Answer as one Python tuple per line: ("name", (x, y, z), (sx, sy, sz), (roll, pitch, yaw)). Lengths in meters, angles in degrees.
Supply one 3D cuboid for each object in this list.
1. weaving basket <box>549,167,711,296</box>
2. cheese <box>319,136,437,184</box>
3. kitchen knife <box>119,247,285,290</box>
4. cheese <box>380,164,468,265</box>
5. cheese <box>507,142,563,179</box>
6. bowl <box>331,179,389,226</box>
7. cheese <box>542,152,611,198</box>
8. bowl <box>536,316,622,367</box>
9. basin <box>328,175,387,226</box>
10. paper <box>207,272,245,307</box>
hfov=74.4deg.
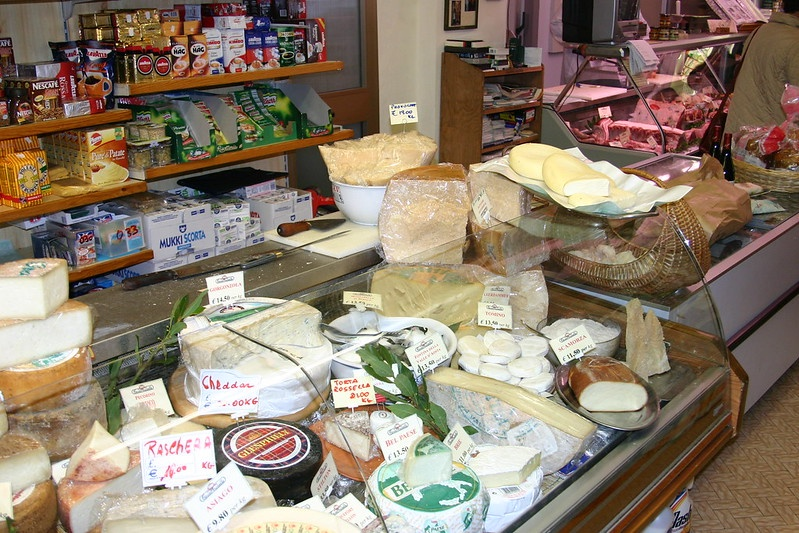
("weaving basket", (0.791, -0.092, 1.700), (0.512, 0.203, 0.349), (8, 45, 2))
("cheese", (-0.084, -0.448, 2.155), (0.370, 0.107, 0.252), (-2, 20, -1))
("kitchen knife", (-0.857, 0.010, 2.214), (0.557, 0.025, 0.120), (-11, 16, -27))
("cheese", (0.091, -0.188, 1.865), (0.359, 0.301, 0.318), (3, 8, -3))
("cheese", (0.439, -0.346, 1.721), (0.165, 0.052, 0.150), (6, 34, 12))
("bowl", (-0.169, -0.259, 2.190), (0.217, 0.108, 0.201), (1, 18, 0))
("cheese", (0.522, -0.267, 1.610), (0.173, 0.063, 0.145), (31, 36, 25))
("bowl", (0.541, 0.231, 1.597), (0.260, 0.092, 0.240), (-6, 15, 2))
("basin", (-0.174, -0.268, 2.199), (0.214, 0.107, 0.204), (1, 18, 0))
("paper", (-0.503, 0.070, 1.522), (0.103, 0.106, 0.012), (-17, 9, -34))
